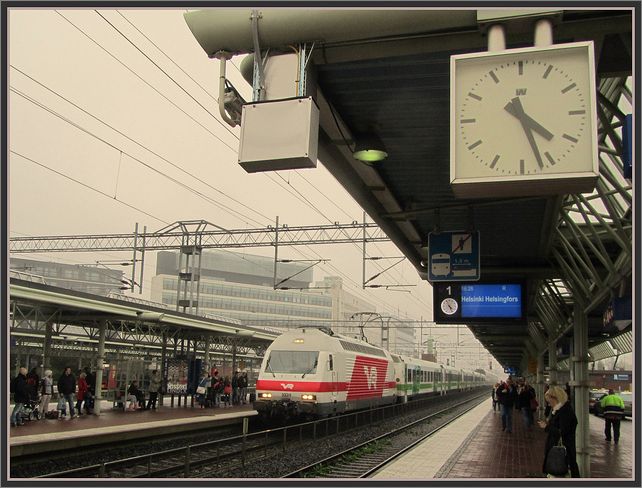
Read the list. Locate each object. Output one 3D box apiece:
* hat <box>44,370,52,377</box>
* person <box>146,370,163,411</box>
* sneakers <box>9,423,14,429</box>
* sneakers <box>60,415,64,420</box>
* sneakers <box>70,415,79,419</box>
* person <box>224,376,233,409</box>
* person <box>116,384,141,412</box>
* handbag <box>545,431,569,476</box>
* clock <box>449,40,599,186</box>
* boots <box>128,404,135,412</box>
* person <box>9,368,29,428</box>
[{"bbox_3d":[-8.693,4.135,21.194,0.168,0.220,0.219,-2,-7,14],"label":"hat"},{"bbox_3d":[-6.339,5.548,25.302,0.519,1.439,1.206,2,-15,-14],"label":"person"},{"bbox_3d":[-8.501,4.994,18.326,0.131,0.116,0.553,4,-17,-24],"label":"sneakers"},{"bbox_3d":[-8.213,5.505,21.165,0.094,0.117,0.166,1,-8,-15],"label":"sneakers"},{"bbox_3d":[-7.984,5.597,21.570,0.107,0.133,0.321,-1,-8,11],"label":"sneakers"},{"bbox_3d":[-4.061,6.417,28.831,0.278,1.308,1.072,0,-15,-9],"label":"person"},{"bbox_3d":[-7.452,5.916,25.875,1.027,1.213,2.393,3,-16,-19],"label":"person"},{"bbox_3d":[3.840,3.464,10.849,0.358,0.655,0.260,-7,-15,18],"label":"handbag"},{"bbox_3d":[2.384,-1.457,7.698,1.705,1.690,0.233,1,-12,7],"label":"clock"},{"bbox_3d":[-7.100,6.189,25.053,0.131,0.237,0.256,-5,-56,6],"label":"boots"},{"bbox_3d":[-8.569,4.344,18.897,0.466,1.679,1.315,4,-16,-24],"label":"person"}]
